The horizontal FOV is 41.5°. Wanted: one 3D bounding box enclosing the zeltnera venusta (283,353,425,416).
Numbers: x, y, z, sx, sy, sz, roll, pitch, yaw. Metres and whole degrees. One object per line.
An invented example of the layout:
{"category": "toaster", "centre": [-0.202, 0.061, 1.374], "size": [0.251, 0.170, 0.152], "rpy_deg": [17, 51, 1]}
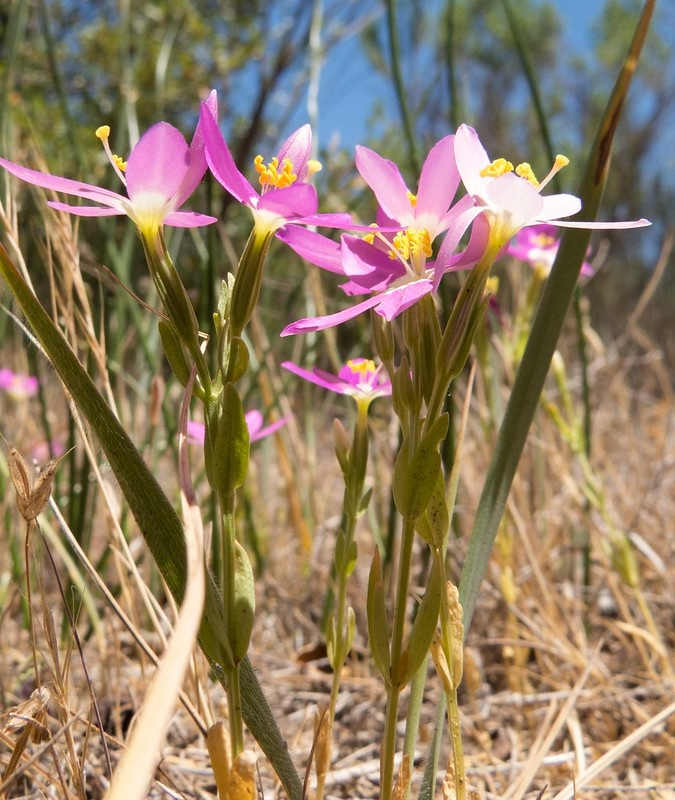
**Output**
{"category": "zeltnera venusta", "centre": [0.025, -0.008, 1.029], "size": [0.104, 0.068, 0.115], "rpy_deg": [-9, -19, 36]}
